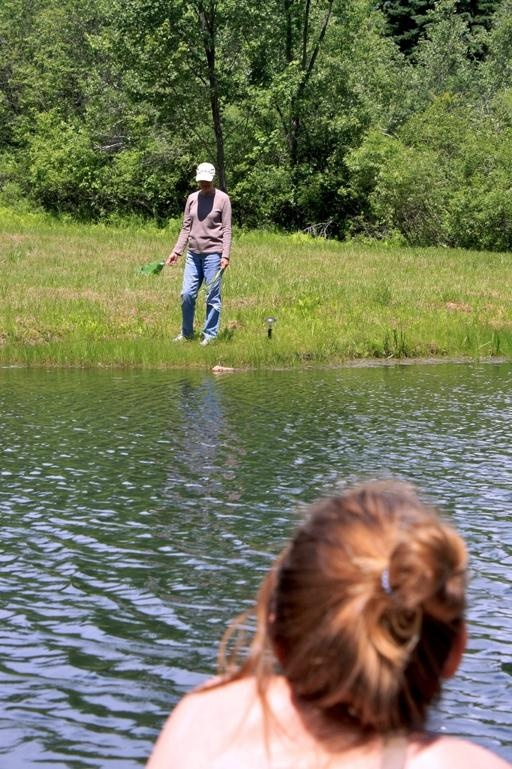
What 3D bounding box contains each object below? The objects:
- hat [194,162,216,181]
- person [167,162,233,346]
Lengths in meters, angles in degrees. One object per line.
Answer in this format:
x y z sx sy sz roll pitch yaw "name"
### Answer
-0.619 -2.611 14.787 0.217 0.185 0.356 3 14 3 "hat"
-0.689 -1.535 15.338 0.680 2.046 0.931 2 9 -3 "person"
